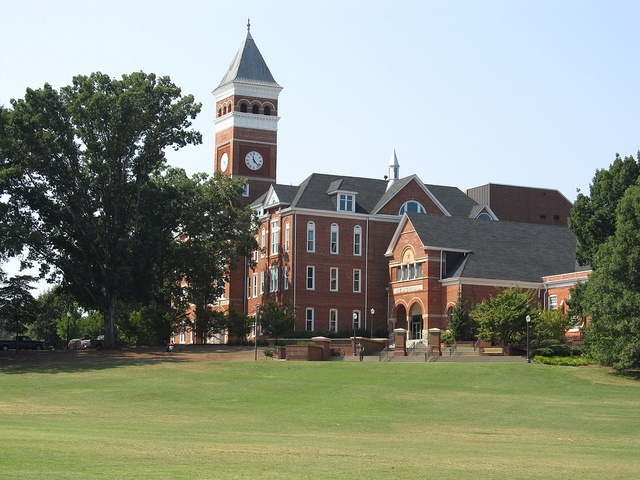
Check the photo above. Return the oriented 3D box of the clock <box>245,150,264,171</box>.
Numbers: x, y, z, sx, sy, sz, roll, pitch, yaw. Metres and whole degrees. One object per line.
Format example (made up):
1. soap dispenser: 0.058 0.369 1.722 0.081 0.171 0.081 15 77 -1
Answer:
1. clock: -7.444 -8.915 105.604 1.980 2.132 0.192 7 -10 -19

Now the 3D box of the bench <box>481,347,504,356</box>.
1. bench: 12.607 8.130 68.415 1.593 0.619 1.239 -1 -10 -2
